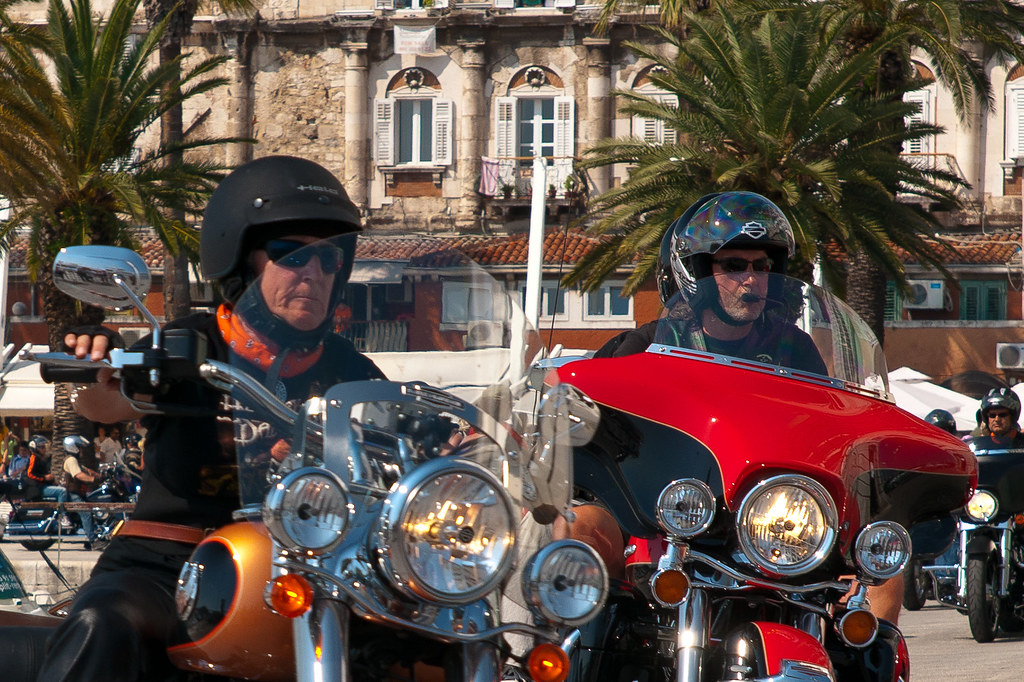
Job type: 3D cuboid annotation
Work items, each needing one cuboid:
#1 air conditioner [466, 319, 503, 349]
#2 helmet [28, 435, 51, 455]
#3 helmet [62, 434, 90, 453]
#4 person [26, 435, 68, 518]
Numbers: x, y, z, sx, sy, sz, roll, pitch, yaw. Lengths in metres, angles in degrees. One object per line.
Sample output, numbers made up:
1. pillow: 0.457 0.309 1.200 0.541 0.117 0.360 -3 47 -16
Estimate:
1. air conditioner: -0.297 -0.010 26.261 0.544 0.394 0.291 1 -11 -3
2. helmet: -8.930 2.017 42.337 0.474 0.457 0.363 0 -2 -29
3. helmet: -7.923 1.897 39.956 0.434 0.315 0.321 6 2 14
4. person: -8.813 2.423 42.177 0.937 1.182 0.878 6 12 7
